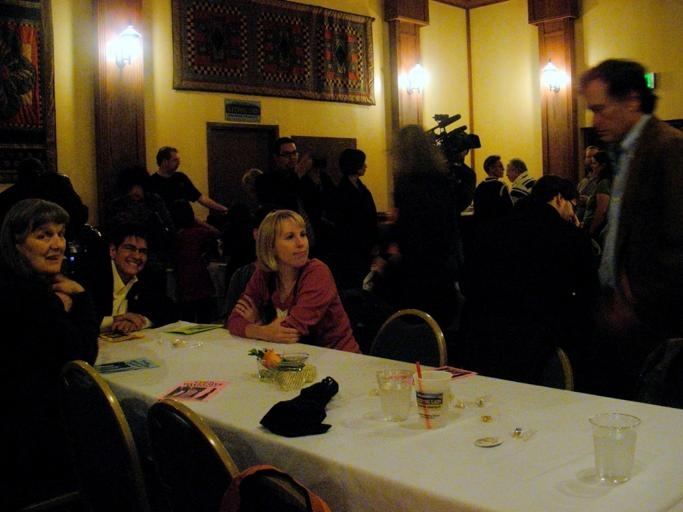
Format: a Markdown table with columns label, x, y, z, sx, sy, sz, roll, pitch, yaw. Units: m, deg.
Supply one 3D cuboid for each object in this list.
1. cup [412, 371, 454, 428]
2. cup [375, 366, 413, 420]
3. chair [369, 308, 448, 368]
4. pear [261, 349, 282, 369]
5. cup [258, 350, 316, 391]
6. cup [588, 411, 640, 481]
| label | x | y | z | sx | sy | sz | roll | pitch | yaw |
| --- | --- | --- | --- | --- | --- | --- | --- | --- | --- |
| cup | 0.265 | 0.402 | 1.609 | 0.135 | 0.142 | 0.134 | -3 | 3 | 0 |
| cup | 0.140 | 0.399 | 1.624 | 0.125 | 0.137 | 0.127 | -1 | -2 | 0 |
| chair | 0.323 | 0.342 | 2.519 | 0.254 | 0.423 | 0.270 | 0 | -3 | 43 |
| pear | -0.252 | 0.378 | 2.017 | 0.059 | 0.042 | 0.063 | 2 | -3 | -12 |
| cup | -0.199 | 0.408 | 2.001 | 0.161 | 0.079 | 0.128 | -1 | 0 | 41 |
| cup | 0.646 | 0.433 | 1.297 | 0.094 | 0.129 | 0.168 | 1 | 8 | 26 |
